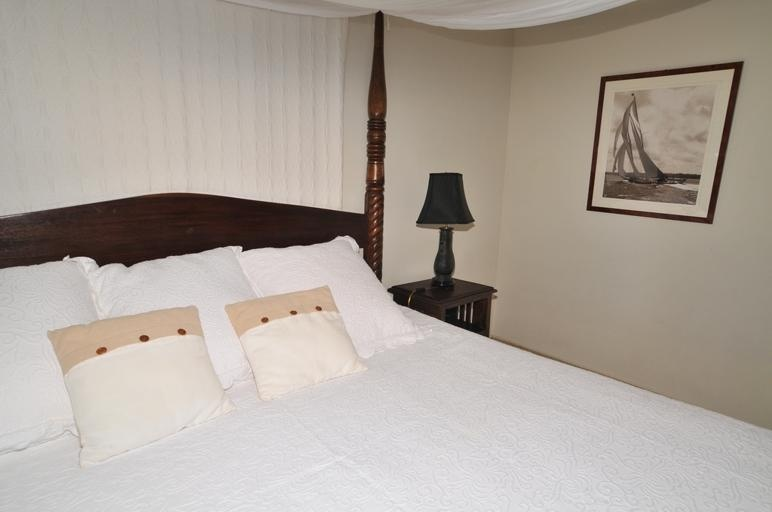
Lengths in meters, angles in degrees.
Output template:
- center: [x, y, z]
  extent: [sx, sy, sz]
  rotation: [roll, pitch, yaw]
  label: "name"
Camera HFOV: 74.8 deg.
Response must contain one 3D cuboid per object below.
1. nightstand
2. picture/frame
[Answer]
- center: [0.445, 0.529, 3.711]
  extent: [0.624, 0.626, 0.475]
  rotation: [-11, 15, -41]
  label: "nightstand"
- center: [1.947, -0.792, 3.457]
  extent: [0.046, 1.141, 0.963]
  rotation: [-10, 23, -41]
  label: "picture/frame"
